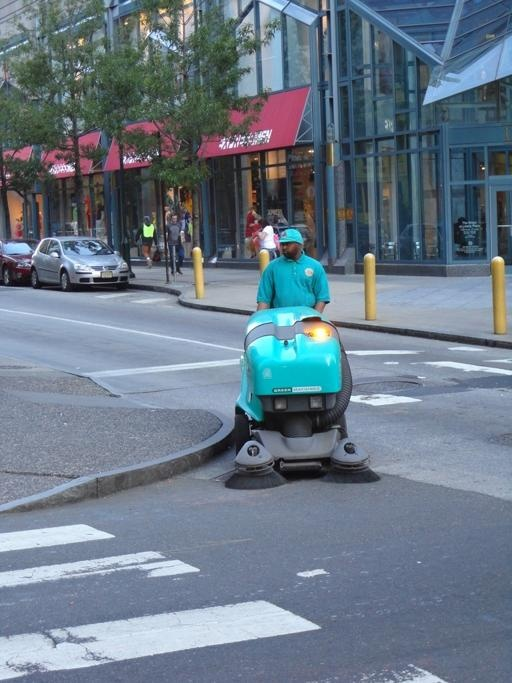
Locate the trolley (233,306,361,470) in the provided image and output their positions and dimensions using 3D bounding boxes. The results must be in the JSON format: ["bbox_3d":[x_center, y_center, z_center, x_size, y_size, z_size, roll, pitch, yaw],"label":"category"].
[{"bbox_3d":[0.245,0.412,6.981,0.840,0.839,1.341,-1,-5,-3],"label":"trolley"}]
